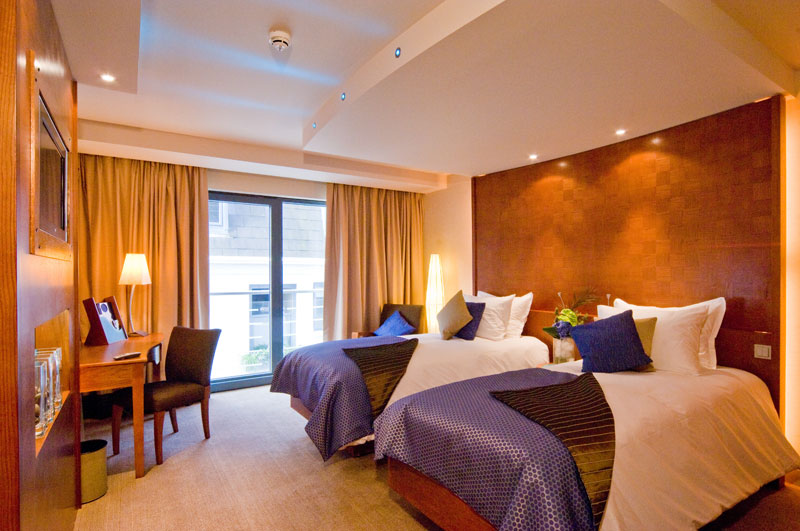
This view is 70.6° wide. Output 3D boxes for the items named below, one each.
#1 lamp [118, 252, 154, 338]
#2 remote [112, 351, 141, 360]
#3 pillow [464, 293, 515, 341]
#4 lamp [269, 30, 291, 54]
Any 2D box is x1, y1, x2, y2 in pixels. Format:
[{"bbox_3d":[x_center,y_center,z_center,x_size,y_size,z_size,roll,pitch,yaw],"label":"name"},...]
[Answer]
[{"bbox_3d":[-2.749,0.288,5.897,0.295,0.832,0.573,-6,12,-24],"label":"lamp"},{"bbox_3d":[-2.279,0.749,4.716,0.059,0.059,0.223,-1,-7,21],"label":"remote"},{"bbox_3d":[0.958,0.569,6.051,0.395,0.313,0.181,-10,1,39],"label":"pillow"},{"bbox_3d":[-0.898,-1.706,4.294,0.175,0.120,0.199,2,11,15],"label":"lamp"}]
